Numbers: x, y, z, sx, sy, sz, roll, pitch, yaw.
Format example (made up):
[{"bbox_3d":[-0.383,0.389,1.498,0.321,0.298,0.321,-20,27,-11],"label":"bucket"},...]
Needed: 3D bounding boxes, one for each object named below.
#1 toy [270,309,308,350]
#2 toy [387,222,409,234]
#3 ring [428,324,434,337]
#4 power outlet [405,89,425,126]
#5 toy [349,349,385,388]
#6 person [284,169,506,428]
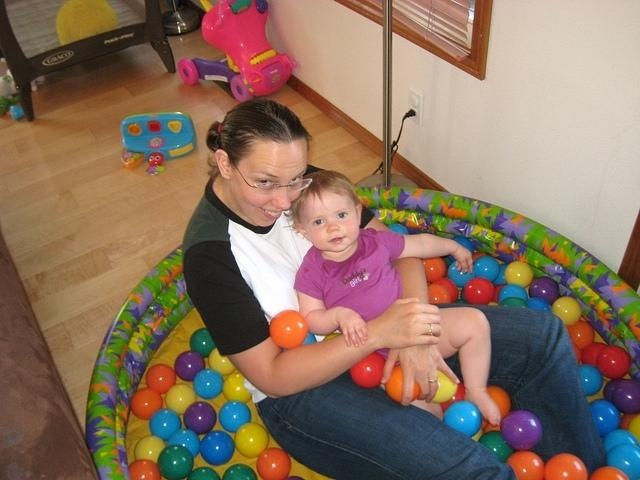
[{"bbox_3d":[-0.095,0.294,1.667,0.113,0.125,0.109,-9,-15,41],"label":"toy"},{"bbox_3d":[0.384,-0.066,2.452,0.069,0.043,0.060,17,9,29],"label":"toy"},{"bbox_3d":[0.338,0.272,1.549,0.011,0.034,0.023,2,2,24],"label":"ring"},{"bbox_3d":[0.501,-0.705,2.686,0.020,0.162,0.115,-20,47,-19],"label":"power outlet"},{"bbox_3d":[0.157,0.418,1.683,0.101,0.111,0.107,2,1,-11],"label":"toy"},{"bbox_3d":[0.269,0.204,1.773,0.647,0.935,0.560,-19,5,3],"label":"person"}]
